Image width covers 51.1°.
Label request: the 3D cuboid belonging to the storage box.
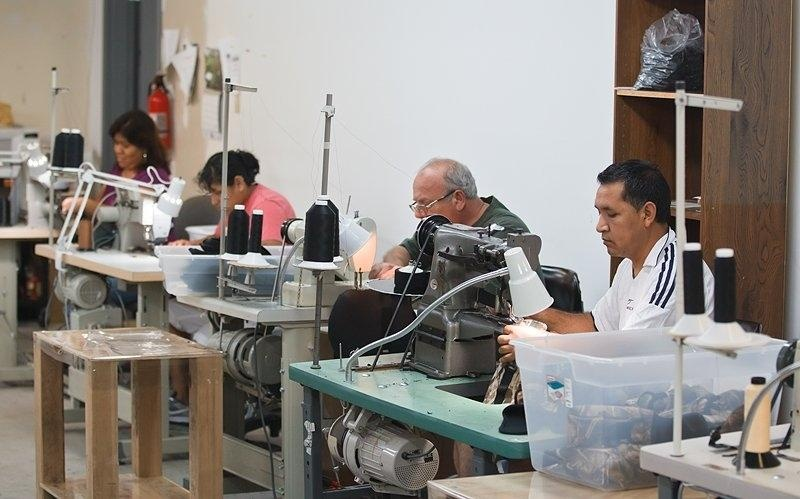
[{"bbox_3d":[0.862,0.500,3.007,0.842,0.423,0.556,-2,2,-29],"label":"storage box"}]

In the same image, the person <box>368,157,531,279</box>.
[{"bbox_3d":[0.259,-0.048,5.301,0.756,0.373,1.040,22,-23,-20],"label":"person"}]

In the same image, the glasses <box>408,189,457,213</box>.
[{"bbox_3d":[0.185,-0.274,4.919,0.173,0.050,0.165,-31,10,-15],"label":"glasses"}]

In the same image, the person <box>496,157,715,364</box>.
[{"bbox_3d":[0.798,0.006,3.974,0.977,0.968,0.796,-1,3,-7],"label":"person"}]

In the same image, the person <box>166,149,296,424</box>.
[{"bbox_3d":[-1.127,0.031,6.048,0.901,1.554,0.708,-11,32,-16],"label":"person"}]
